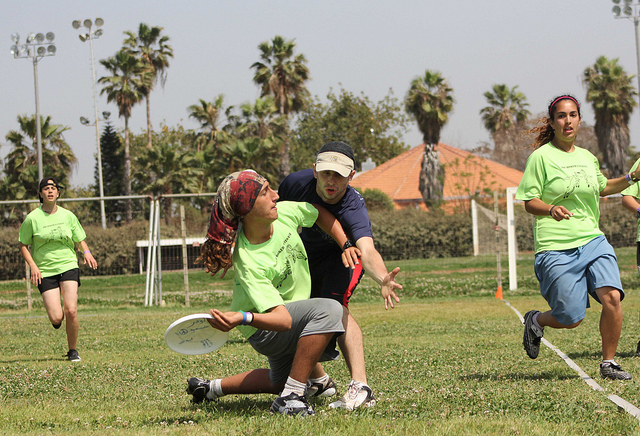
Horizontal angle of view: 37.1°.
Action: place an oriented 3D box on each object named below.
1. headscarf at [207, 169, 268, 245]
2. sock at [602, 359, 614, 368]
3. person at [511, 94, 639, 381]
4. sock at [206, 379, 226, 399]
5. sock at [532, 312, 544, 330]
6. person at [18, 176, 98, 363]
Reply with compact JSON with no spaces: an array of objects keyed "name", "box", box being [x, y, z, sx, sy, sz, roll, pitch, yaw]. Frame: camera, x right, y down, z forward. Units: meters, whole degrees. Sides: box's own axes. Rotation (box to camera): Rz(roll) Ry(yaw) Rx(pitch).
[{"name":"headscarf","box":[-1.026,-0.114,11.646,0.739,0.912,0.261,-4,0,-7]},{"name":"sock","box":[3.864,1.973,12.842,0.105,0.085,0.084,0,-3,19]},{"name":"person","box":[3.425,0.251,13.181,1.349,3.862,0.904,-4,0,12]},{"name":"sock","box":[-1.331,2.193,12.101,0.222,0.242,0.187,-3,-2,-4]},{"name":"sock","box":[3.038,1.463,13.404,0.129,0.239,0.161,-4,0,7]},{"name":"person","box":[-4.275,0.796,15.497,1.098,3.049,0.994,-4,0,-19]}]
